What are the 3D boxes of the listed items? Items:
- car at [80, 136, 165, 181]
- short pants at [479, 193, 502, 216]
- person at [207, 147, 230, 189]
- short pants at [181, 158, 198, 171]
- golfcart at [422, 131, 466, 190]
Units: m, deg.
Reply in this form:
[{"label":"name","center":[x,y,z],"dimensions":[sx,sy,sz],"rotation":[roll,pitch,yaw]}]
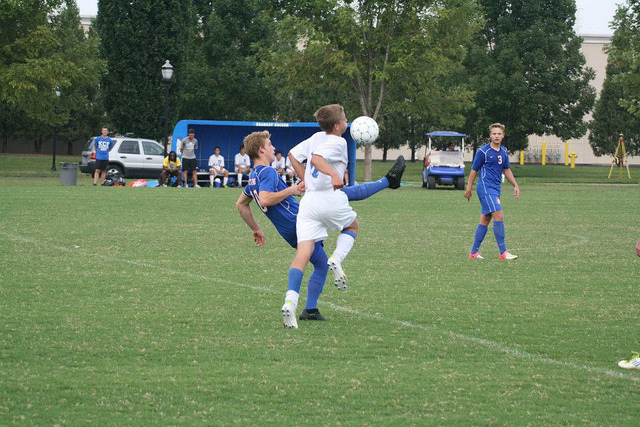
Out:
[{"label":"car","center":[-8.084,-2.375,41.216],"dimensions":[4.044,1.571,1.897],"rotation":[-4,8,-24]},{"label":"short pants","center":[4.245,-0.273,23.942],"dimensions":[0.472,0.530,0.775],"rotation":[-16,9,-25]},{"label":"person","center":[-4.221,-1.907,39.981],"dimensions":[0.880,1.200,1.865],"rotation":[3,1,-6]},{"label":"short pants","center":[-5.262,-1.968,38.336],"dimensions":[0.790,0.654,0.442],"rotation":[0,4,-13]},{"label":"golfcart","center":[5.657,-2.499,44.035],"dimensions":[2.026,2.461,3.624],"rotation":[1,9,2]}]
